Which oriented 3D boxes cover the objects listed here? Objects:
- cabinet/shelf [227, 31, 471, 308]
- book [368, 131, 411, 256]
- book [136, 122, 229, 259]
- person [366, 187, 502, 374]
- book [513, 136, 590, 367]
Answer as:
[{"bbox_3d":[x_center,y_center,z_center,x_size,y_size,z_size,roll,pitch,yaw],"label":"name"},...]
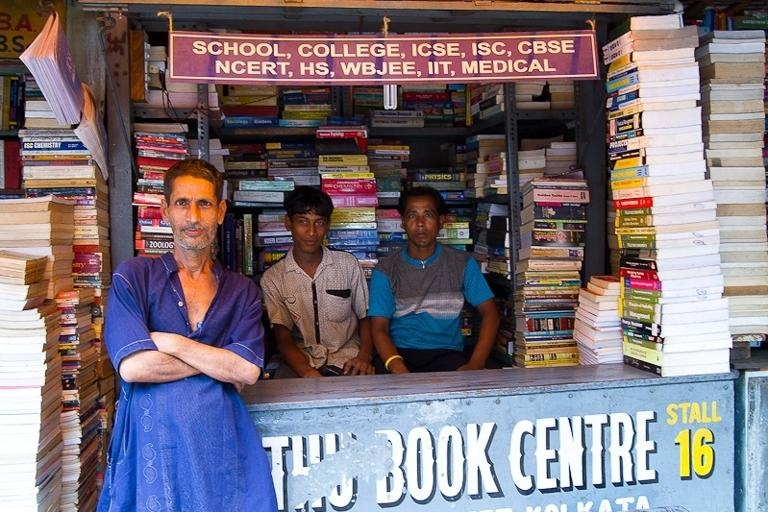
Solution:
[{"bbox_3d":[-0.200,-0.616,5.619,1.931,1.671,0.964,0,10,-2],"label":"cabinet/shelf"},{"bbox_3d":[0.024,-0.404,5.319,0.463,0.776,0.838,-1,3,-6],"label":"book"},{"bbox_3d":[-1.172,-0.397,4.245,0.710,0.674,0.171,-1,-4,-26],"label":"book"},{"bbox_3d":[0.247,0.213,4.746,0.909,1.107,0.892,8,17,21],"label":"person"},{"bbox_3d":[0.962,0.077,4.883,0.357,1.072,0.818,1,4,-2],"label":"book"}]
